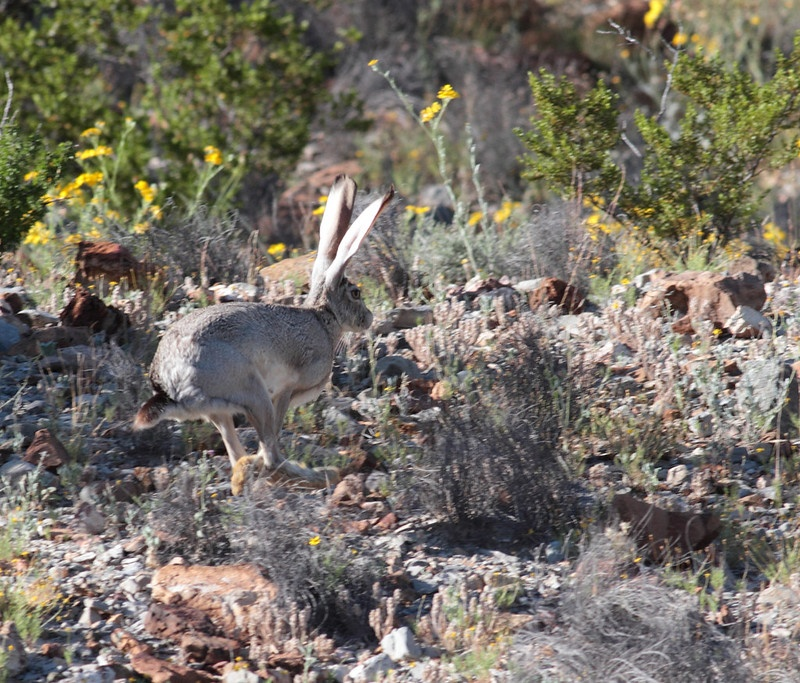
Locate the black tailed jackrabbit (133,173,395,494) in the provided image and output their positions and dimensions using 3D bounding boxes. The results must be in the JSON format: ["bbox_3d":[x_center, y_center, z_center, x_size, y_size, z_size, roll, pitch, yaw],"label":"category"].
[{"bbox_3d":[-0.754,-0.041,6.826,0.713,1.596,1.926,2,10,36],"label":"black tailed jackrabbit"}]
